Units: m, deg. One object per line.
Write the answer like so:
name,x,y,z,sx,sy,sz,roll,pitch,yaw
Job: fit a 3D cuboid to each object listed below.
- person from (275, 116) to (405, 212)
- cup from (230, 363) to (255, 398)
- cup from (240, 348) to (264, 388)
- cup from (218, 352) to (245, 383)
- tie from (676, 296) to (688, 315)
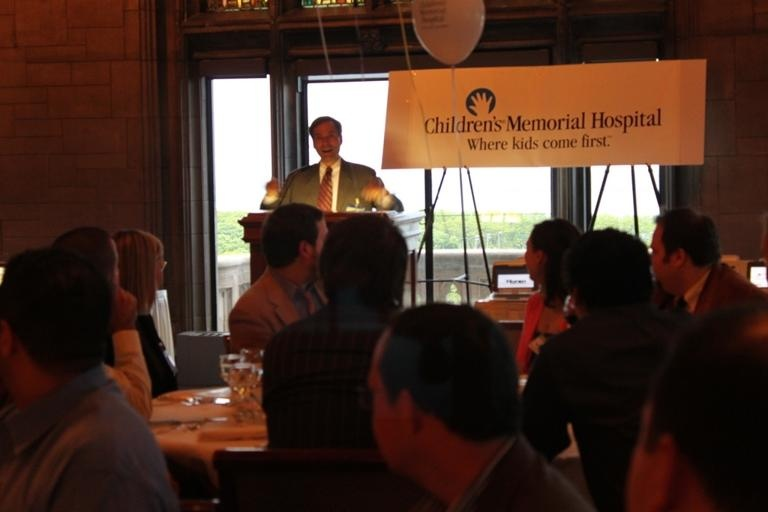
person,-0.340,-0.707,5.586,0.695,0.455,1.279,-8,46,1
cup,-0.509,0.455,2.604,0.116,0.133,0.117,0,0,0
cup,-0.510,0.411,2.675,0.130,0.139,0.123,7,-2,0
cup,-0.574,0.411,2.668,0.108,0.128,0.110,0,-7,0
tie,1.232,0.204,2.959,0.030,0.091,0.065,3,-3,-14
